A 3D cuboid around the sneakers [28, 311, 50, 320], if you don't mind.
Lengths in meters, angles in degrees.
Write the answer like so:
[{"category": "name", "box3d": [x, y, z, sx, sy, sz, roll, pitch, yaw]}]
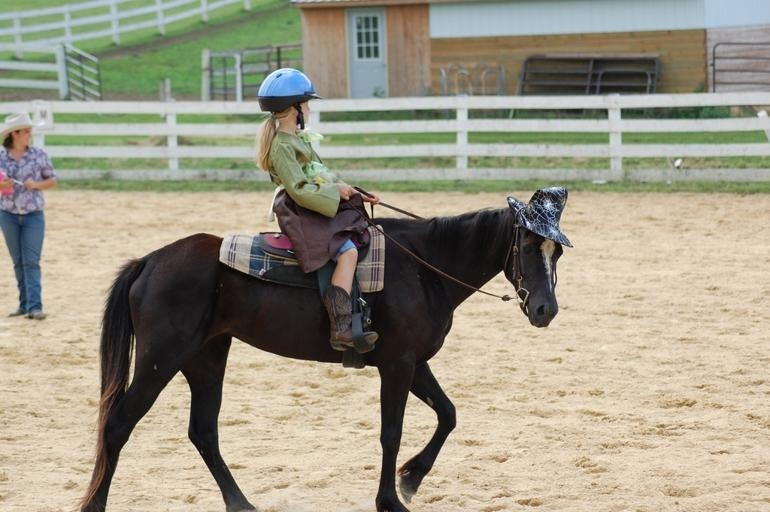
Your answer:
[{"category": "sneakers", "box3d": [-6.258, 1.066, 35.508, 0.378, 0.159, 0.141, -6, -6, 40]}]
